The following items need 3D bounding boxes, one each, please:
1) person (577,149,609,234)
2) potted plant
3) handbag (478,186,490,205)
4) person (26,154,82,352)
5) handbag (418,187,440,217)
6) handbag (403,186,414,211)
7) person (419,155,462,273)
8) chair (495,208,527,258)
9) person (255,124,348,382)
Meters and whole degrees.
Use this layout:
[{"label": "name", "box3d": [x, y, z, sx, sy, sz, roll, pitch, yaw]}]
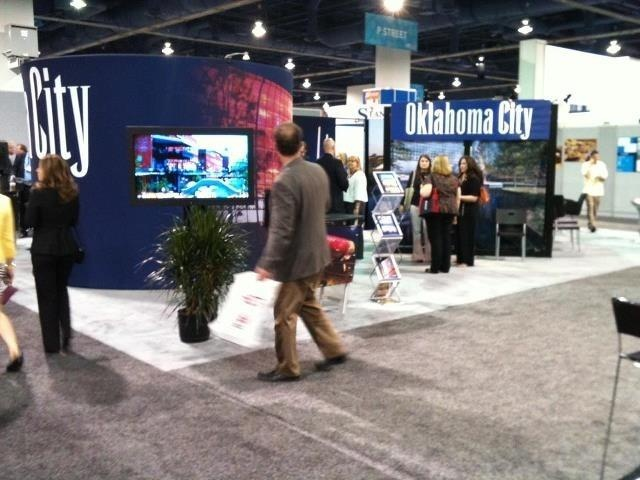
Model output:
[{"label": "person", "box3d": [6.616, -1.159, 12.094, 0.503, 1.943, 0.883, 4, 9, 28]}, {"label": "potted plant", "box3d": [-1.066, 0.342, 4.554, 0.737, 1.250, 0.281, -1, 8, -10]}, {"label": "handbag", "box3d": [2.729, -0.752, 8.324, 0.169, 0.382, 0.367, -1, 6, 14]}, {"label": "person", "box3d": [-2.219, 0.144, 4.241, 0.385, 1.712, 0.218, -4, 9, -26]}, {"label": "handbag", "box3d": [1.675, -0.573, 7.550, 0.179, 0.447, 0.453, -6, 4, -35]}, {"label": "handbag", "box3d": [1.481, -0.688, 8.237, 0.167, 0.393, 0.357, 1, 8, 9]}, {"label": "person", "box3d": [1.840, -0.394, 7.690, 0.584, 1.797, 0.470, 1, 8, 8]}, {"label": "chair", "box3d": [3.401, -0.111, 8.859, 0.548, 0.900, 0.700, 3, 8, 22]}, {"label": "person", "box3d": [-0.165, 0.108, 3.742, 0.397, 1.955, 0.738, 6, 10, 40]}]
